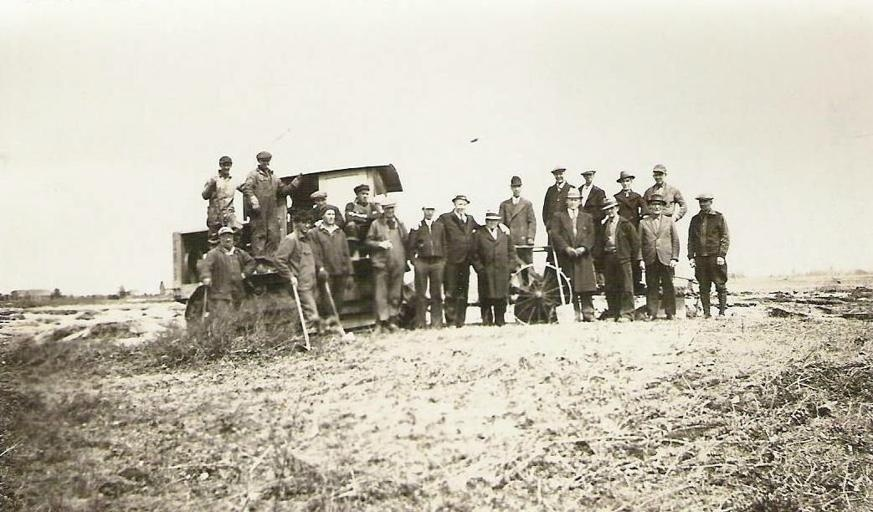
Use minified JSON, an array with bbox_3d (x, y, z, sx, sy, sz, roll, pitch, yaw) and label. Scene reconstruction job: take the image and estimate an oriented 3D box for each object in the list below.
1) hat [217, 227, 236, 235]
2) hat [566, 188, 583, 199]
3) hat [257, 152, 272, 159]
[{"bbox_3d":[-3.401,-0.419,11.723,0.268,0.169,0.322,-3,-3,-16],"label":"hat"},{"bbox_3d":[2.295,-1.056,12.146,0.320,0.143,0.369,0,-3,1],"label":"hat"},{"bbox_3d":[-2.801,-1.636,11.761,0.198,0.138,0.347,-3,-3,-16],"label":"hat"}]
